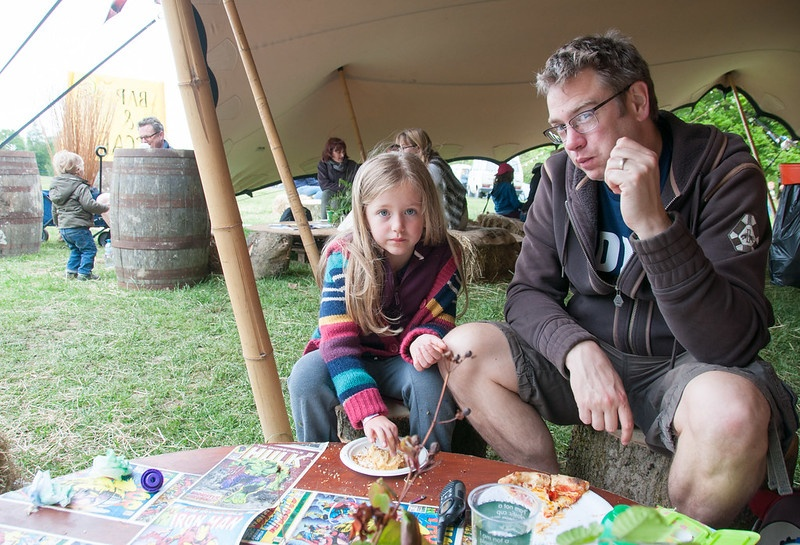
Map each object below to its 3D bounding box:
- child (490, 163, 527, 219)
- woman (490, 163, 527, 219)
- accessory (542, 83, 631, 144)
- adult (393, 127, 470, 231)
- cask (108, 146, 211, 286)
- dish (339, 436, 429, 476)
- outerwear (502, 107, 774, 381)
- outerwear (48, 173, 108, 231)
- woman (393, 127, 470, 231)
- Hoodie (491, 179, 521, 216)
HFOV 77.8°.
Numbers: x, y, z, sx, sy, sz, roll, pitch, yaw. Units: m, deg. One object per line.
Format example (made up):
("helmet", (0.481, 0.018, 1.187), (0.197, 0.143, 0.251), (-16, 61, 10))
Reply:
("child", (1.887, -1.382, 8.427), (0.687, 0.951, 0.677), (1, 9, 17))
("woman", (1.854, -1.374, 8.413), (0.710, 0.935, 0.596), (-2, 8, -13))
("accessory", (0.735, -0.640, 2.051), (0.253, 0.074, 0.238), (-41, 9, -24))
("adult", (0.464, -0.892, 5.320), (0.499, 1.387, 0.707), (-26, 24, -7))
("cask", (-2.854, -0.602, 5.899), (1.013, 1.490, 1.094), (7, 12, 35))
("dish", (-0.087, 0.636, 1.682), (0.231, 0.035, 0.241), (15, 1, 26))
("outerwear", (1.063, -0.032, 2.245), (0.882, 1.245, 1.146), (-8, 12, -21))
("outerwear", (-4.360, -0.944, 6.719), (0.783, 0.717, 0.550), (-1, -2, 10))
("woman", (0.431, -0.907, 5.354), (0.499, 1.387, 0.707), (-26, 24, -7))
("Hoodie", (1.705, -1.206, 8.390), (0.594, 0.639, 0.532), (-6, 1, -41))
